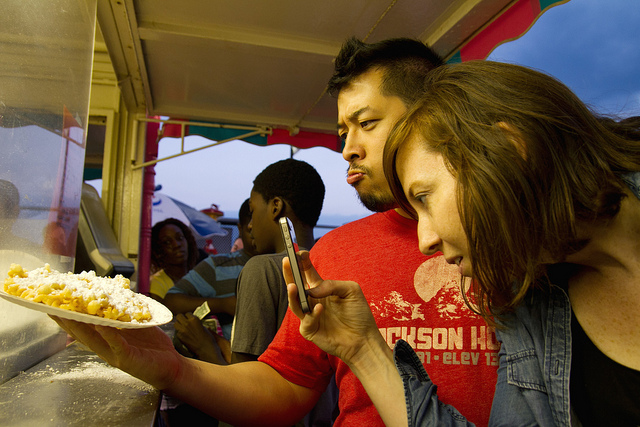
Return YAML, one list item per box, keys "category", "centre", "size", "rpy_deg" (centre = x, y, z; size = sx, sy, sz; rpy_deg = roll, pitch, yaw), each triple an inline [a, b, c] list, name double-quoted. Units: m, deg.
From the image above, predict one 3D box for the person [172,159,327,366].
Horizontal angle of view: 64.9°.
- category: "person"
  centre: [-0.392, 0.333, 2.774]
  size: [0.660, 1.226, 0.728]
  rpy_deg: [1, -25, 27]

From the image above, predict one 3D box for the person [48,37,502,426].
- category: "person"
  centre: [0.153, 0.137, 2.551]
  size: [1.516, 1.027, 1.558]
  rpy_deg: [0, -6, 8]

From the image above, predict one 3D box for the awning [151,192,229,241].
- category: "awning"
  centre: [-1.997, 0.033, 7.540]
  size: [1.056, 0.376, 1.070]
  rpy_deg: [-2, -22, 22]

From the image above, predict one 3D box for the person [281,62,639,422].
- category: "person"
  centre: [0.648, 0.095, 1.696]
  size: [0.823, 1.197, 0.320]
  rpy_deg: [1, 8, 10]

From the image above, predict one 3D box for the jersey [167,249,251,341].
- category: "jersey"
  centre: [-0.767, 0.522, 3.595]
  size: [0.569, 0.562, 0.225]
  rpy_deg: [-7, -38, 12]
